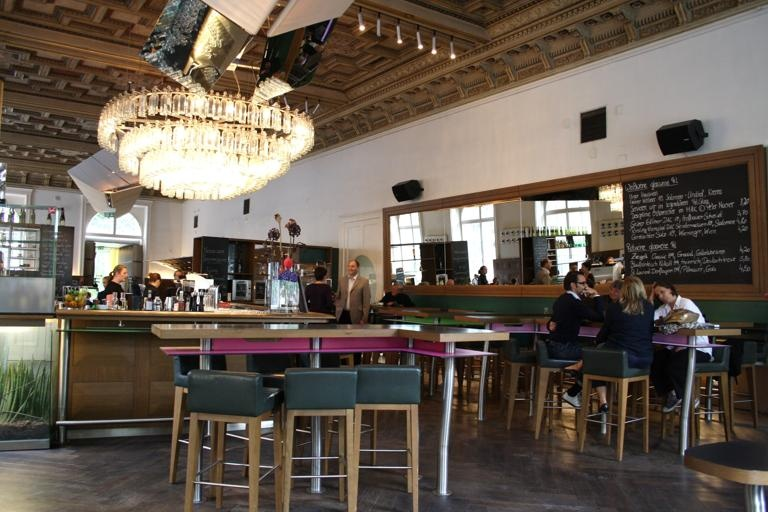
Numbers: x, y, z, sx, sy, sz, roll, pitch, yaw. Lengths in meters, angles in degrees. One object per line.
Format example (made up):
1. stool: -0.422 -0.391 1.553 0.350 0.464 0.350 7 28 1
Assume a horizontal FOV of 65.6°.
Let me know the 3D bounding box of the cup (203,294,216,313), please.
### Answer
1. cup: -2.309 0.629 7.873 0.160 0.213 0.101 -1 -14 -9

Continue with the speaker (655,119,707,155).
1. speaker: 4.287 -1.637 8.591 0.465 0.479 0.619 -6 1 -37

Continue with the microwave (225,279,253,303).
1. microwave: -3.336 0.846 13.954 0.620 0.596 0.452 4 -6 -40

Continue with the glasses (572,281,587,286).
1. glasses: 2.492 0.368 7.696 0.136 0.039 0.138 4 -6 -32

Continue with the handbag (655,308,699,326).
1. handbag: 3.314 0.700 6.767 0.282 0.084 0.280 -1 0 -33

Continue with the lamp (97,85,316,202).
1. lamp: -2.500 -1.464 7.876 1.933 0.712 1.954 -12 -20 41

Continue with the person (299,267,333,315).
1. person: -1.080 0.569 9.854 0.486 0.813 1.546 0 -4 -7

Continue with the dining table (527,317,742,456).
1. dining table: 3.125 1.511 6.939 1.880 1.411 1.065 0 -4 0

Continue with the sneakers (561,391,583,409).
1. sneakers: 2.323 1.757 7.334 0.352 0.149 0.125 31 10 -37

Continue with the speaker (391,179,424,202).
1. speaker: 0.426 -1.268 11.819 0.448 0.416 0.552 -19 5 -37

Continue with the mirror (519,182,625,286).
1. mirror: 3.104 -0.382 9.635 1.800 1.699 0.145 0 2 33

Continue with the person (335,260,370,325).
1. person: -0.543 0.598 10.129 0.552 1.066 0.731 0 -4 -8

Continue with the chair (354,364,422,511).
1. chair: 0.040 1.649 5.766 0.626 1.293 1.199 0 -4 0

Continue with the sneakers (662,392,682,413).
1. sneakers: 3.385 1.718 7.018 0.131 0.304 0.102 22 16 -5
